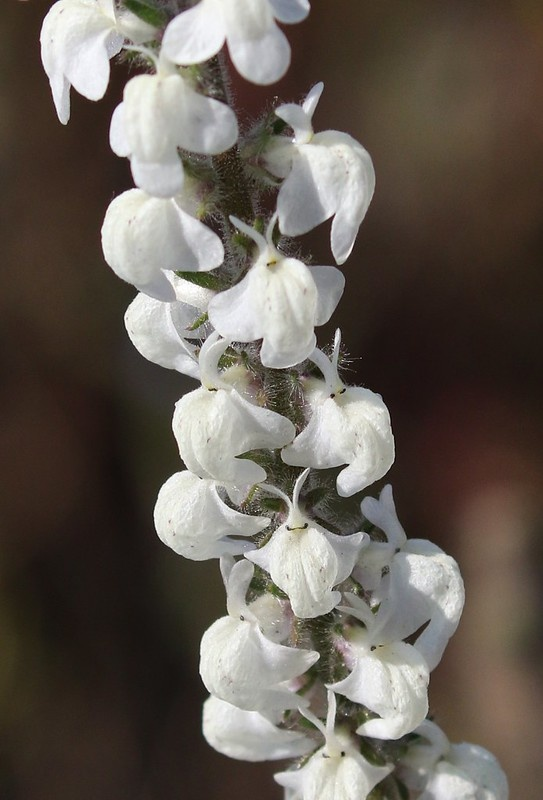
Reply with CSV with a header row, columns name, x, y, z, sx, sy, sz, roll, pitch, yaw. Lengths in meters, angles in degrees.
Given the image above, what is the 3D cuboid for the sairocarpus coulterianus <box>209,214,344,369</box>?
name,x,y,z,sx,sy,sz,roll,pitch,yaw
sairocarpus coulterianus,-0.001,-0.085,0.819,0.119,0.044,0.122,-20,113,-20

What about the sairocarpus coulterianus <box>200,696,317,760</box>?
name,x,y,z,sx,sy,sz,roll,pitch,yaw
sairocarpus coulterianus,-0.016,0.320,0.997,0.110,0.079,0.039,-5,74,34

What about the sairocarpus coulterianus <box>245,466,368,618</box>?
name,x,y,z,sx,sy,sz,roll,pitch,yaw
sairocarpus coulterianus,0.035,0.126,0.907,0.118,0.049,0.121,-21,82,13

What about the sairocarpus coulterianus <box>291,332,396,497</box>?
name,x,y,z,sx,sy,sz,roll,pitch,yaw
sairocarpus coulterianus,0.054,0.000,0.859,0.109,0.103,0.095,-7,39,-8

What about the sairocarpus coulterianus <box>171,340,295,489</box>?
name,x,y,z,sx,sy,sz,roll,pitch,yaw
sairocarpus coulterianus,-0.042,0.028,0.873,0.090,0.136,0.119,-37,75,-6

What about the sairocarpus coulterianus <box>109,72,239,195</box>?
name,x,y,z,sx,sy,sz,roll,pitch,yaw
sairocarpus coulterianus,-0.083,-0.207,0.753,0.085,0.036,0.093,-40,76,-7

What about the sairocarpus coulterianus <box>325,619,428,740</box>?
name,x,y,z,sx,sy,sz,roll,pitch,yaw
sairocarpus coulterianus,0.099,0.265,0.910,0.089,0.081,0.091,19,77,9

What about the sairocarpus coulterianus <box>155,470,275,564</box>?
name,x,y,z,sx,sy,sz,roll,pitch,yaw
sairocarpus coulterianus,-0.052,0.100,0.901,0.087,0.086,0.041,-17,44,26
